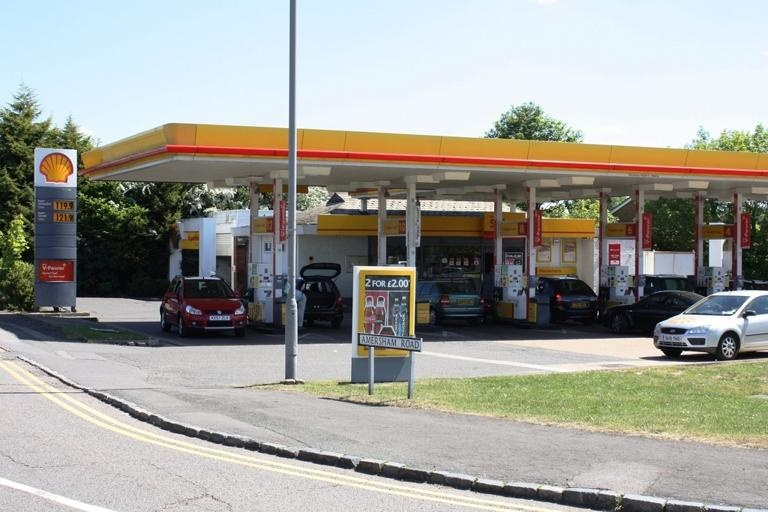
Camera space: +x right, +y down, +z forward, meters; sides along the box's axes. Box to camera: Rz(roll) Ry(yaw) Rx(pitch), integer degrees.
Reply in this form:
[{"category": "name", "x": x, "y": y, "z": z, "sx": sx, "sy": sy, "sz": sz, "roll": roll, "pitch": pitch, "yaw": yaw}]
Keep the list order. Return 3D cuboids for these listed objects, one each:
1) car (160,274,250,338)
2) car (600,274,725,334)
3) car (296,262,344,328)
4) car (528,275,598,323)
[{"category": "car", "x": -5.994, "y": 1.595, "z": 28.335, "sx": 1.886, "sy": 1.979, "sz": 2.864, "roll": 5, "pitch": -7, "yaw": -42}, {"category": "car", "x": 9.445, "y": 1.705, "z": 29.986, "sx": 3.581, "sy": 1.693, "sz": 2.093, "roll": -5, "pitch": -3, "yaw": 43}, {"category": "car", "x": -2.424, "y": 1.301, "z": 32.190, "sx": 1.602, "sy": 1.725, "sz": 2.649, "roll": 0, "pitch": 5, "yaw": -8}, {"category": "car", "x": 7.080, "y": 1.654, "z": 33.163, "sx": 1.383, "sy": 1.155, "sz": 2.529, "roll": 0, "pitch": 3, "yaw": -12}]
